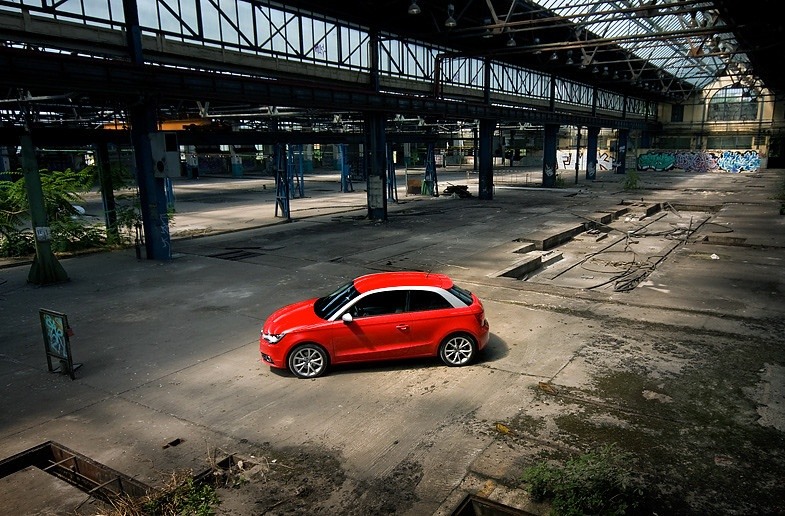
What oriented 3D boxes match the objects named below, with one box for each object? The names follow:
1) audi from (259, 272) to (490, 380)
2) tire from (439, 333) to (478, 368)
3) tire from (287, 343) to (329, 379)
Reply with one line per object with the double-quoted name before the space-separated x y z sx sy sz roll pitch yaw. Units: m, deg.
"audi" -0.545 1.686 12.242 5.367 1.983 2.552 0 10 -4
"tire" 1.689 2.319 11.608 0.635 0.640 0.260 -35 9 -2
"tire" -2.055 2.512 11.290 0.722 0.722 0.276 15 3 -15
